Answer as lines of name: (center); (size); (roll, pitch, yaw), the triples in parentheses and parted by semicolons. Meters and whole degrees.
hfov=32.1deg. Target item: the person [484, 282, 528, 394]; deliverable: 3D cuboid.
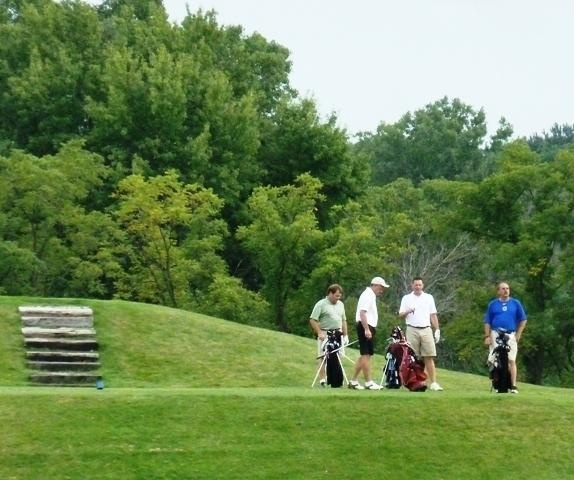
person: (6.455, 2.914, 29.466); (1.178, 3.348, 1.101); (1, 11, 11)

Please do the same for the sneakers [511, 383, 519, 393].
sneakers: (6.738, 4.376, 29.441); (0.154, 0.228, 0.529); (-3, -15, 6)

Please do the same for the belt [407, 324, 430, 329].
belt: (3.856, 2.496, 29.328); (0.661, 0.097, 0.134); (1, 11, 13)

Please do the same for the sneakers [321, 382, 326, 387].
sneakers: (1.097, 4.351, 30.298); (0.158, 0.164, 0.120); (5, -12, 10)

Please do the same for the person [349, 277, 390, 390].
person: (2.339, 2.807, 29.272); (0.950, 3.463, 0.832); (6, 13, 34)

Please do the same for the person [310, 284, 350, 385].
person: (1.263, 2.932, 30.089); (1.070, 3.222, 0.823); (-1, 10, 0)

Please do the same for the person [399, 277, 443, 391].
person: (3.962, 2.753, 29.347); (1.144, 3.481, 0.722); (0, 10, 6)
